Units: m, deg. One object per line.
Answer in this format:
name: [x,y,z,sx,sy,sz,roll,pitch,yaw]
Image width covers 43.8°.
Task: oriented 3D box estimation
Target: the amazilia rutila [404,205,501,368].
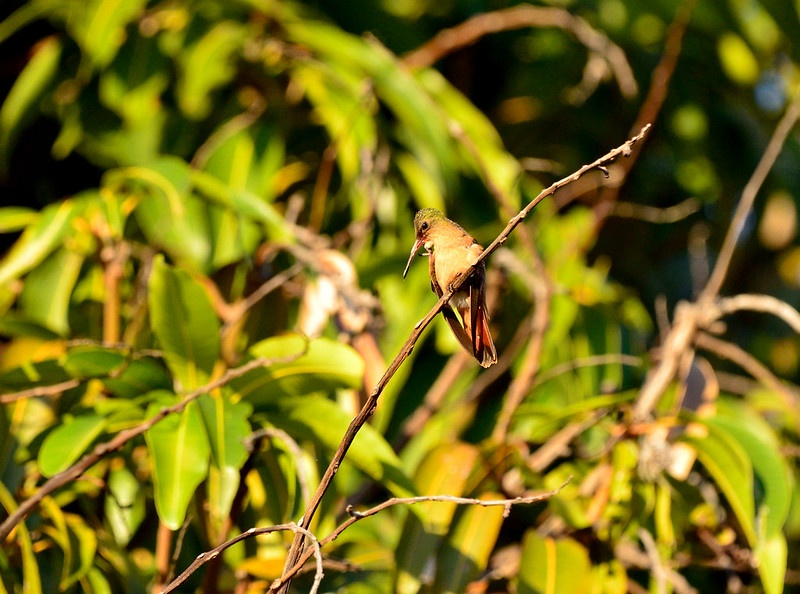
amazilia rutila: [0.199,-0.062,3.904,0.160,0.262,0.627,-13,-65,37]
